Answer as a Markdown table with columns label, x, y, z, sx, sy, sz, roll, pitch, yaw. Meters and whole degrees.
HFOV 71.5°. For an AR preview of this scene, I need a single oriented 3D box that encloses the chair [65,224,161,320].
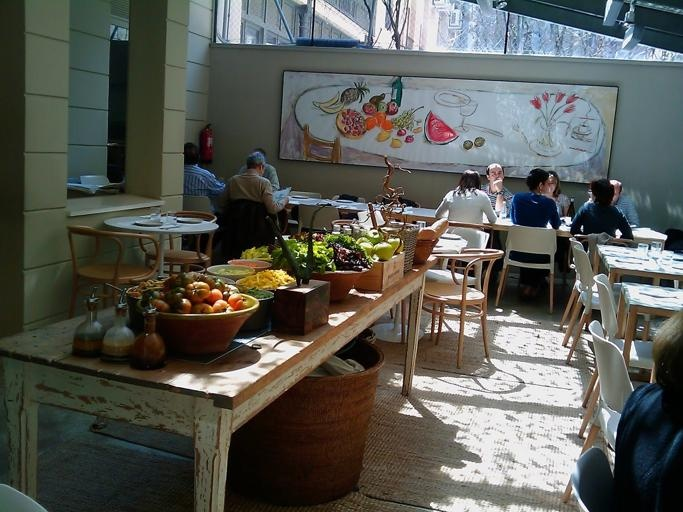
| label | x | y | z | sx | sy | sz | roll | pitch | yaw |
| --- | --- | --- | --- | --- | --- | --- | --- | --- | --- |
| chair | -1.623 | 0.077 | 3.273 | 0.523 | 0.683 | 0.481 | 12 | 19 | 24 |

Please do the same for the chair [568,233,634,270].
| label | x | y | z | sx | sy | sz | roll | pitch | yaw |
| --- | --- | --- | --- | --- | --- | --- | --- | --- | --- |
| chair | 2.584 | -0.061 | 4.670 | 0.318 | 0.442 | 0.274 | -18 | 21 | -38 |

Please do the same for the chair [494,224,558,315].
| label | x | y | z | sx | sy | sz | roll | pitch | yaw |
| --- | --- | --- | --- | --- | --- | --- | --- | --- | --- |
| chair | 2.294 | 0.137 | 5.772 | 0.668 | 0.997 | 0.528 | 8 | 11 | 22 |

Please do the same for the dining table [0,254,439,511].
| label | x | y | z | sx | sy | sz | roll | pitch | yaw |
| --- | --- | --- | --- | --- | --- | --- | --- | --- | --- |
| dining table | -0.268 | 0.514 | 1.928 | 1.753 | 0.532 | 0.783 | -7 | 16 | -45 |

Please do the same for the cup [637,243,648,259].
| label | x | y | z | sx | sy | sz | roll | pitch | yaw |
| --- | --- | --- | --- | --- | --- | --- | --- | --- | --- |
| cup | 2.815 | -0.051 | 4.428 | 0.106 | 0.127 | 0.110 | 0 | 12 | 0 |

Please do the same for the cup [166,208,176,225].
| label | x | y | z | sx | sy | sz | roll | pitch | yaw |
| --- | --- | --- | --- | --- | --- | --- | --- | --- | --- |
| cup | -1.550 | -0.341 | 4.238 | 0.094 | 0.139 | 0.138 | 1 | 0 | -8 |

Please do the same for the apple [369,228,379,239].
| label | x | y | z | sx | sy | sz | roll | pitch | yaw |
| --- | --- | --- | --- | --- | --- | --- | --- | --- | --- |
| apple | 0.183 | -0.130 | 2.671 | 0.046 | 0.017 | 0.048 | 15 | 25 | 34 |

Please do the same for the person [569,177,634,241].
| label | x | y | z | sx | sy | sz | roll | pitch | yaw |
| --- | --- | --- | --- | --- | --- | --- | --- | --- | --- |
| person | 3.087 | -0.510 | 5.563 | 0.648 | 0.748 | 0.433 | 12 | 17 | 37 |

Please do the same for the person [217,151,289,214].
| label | x | y | z | sx | sy | sz | roll | pitch | yaw |
| --- | --- | --- | --- | --- | --- | --- | --- | --- | --- |
| person | -1.297 | -1.232 | 7.351 | 0.633 | 1.031 | 0.563 | 4 | -15 | -23 |

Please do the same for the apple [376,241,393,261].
| label | x | y | z | sx | sy | sz | roll | pitch | yaw |
| --- | --- | --- | --- | --- | --- | --- | --- | --- | --- |
| apple | 0.223 | -0.032 | 2.550 | 0.086 | 0.092 | 0.082 | -10 | 2 | -38 |

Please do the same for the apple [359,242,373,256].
| label | x | y | z | sx | sy | sz | roll | pitch | yaw |
| --- | --- | --- | --- | --- | --- | --- | --- | --- | --- |
| apple | 0.131 | -0.048 | 2.505 | 0.063 | 0.061 | 0.065 | 9 | 30 | 9 |

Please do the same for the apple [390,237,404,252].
| label | x | y | z | sx | sy | sz | roll | pitch | yaw |
| --- | --- | --- | --- | --- | --- | --- | --- | --- | --- |
| apple | 0.310 | -0.073 | 2.667 | 0.071 | 0.070 | 0.074 | 1 | 23 | -5 |

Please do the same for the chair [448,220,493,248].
| label | x | y | z | sx | sy | sz | roll | pitch | yaw |
| --- | --- | --- | --- | --- | --- | --- | --- | --- | --- |
| chair | 1.456 | -0.263 | 5.355 | 0.337 | 0.383 | 0.420 | 15 | -13 | 7 |
